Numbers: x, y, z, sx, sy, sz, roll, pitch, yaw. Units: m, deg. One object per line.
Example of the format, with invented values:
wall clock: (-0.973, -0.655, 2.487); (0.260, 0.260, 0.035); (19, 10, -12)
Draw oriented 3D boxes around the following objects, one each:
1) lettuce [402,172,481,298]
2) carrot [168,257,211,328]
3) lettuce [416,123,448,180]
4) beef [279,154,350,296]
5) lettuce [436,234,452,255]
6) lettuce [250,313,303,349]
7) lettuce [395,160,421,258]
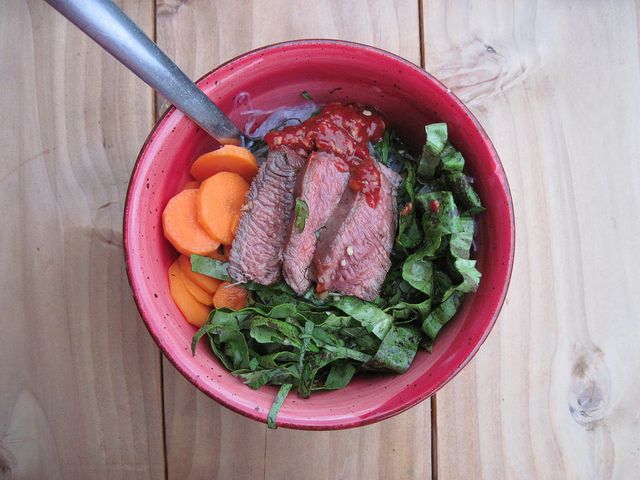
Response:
lettuce: (0.554, -0.048, 3.392); (0.167, 0.549, 0.417); (15, 23, -42)
carrot: (-0.620, 0.262, 3.438); (0.179, 0.312, 0.153); (25, 40, 29)
lettuce: (0.535, -0.428, 3.376); (0.103, 0.267, 0.083); (24, 37, 33)
beef: (-0.055, -0.125, 3.482); (0.308, 0.720, 0.143); (9, 6, -33)
lettuce: (0.576, 0.022, 3.320); (0.069, 0.089, 0.022); (7, 5, 39)
lettuce: (-0.203, 0.429, 3.286); (0.230, 0.150, 0.067); (15, -15, -7)
lettuce: (0.434, -0.133, 3.496); (0.077, 0.424, 0.153); (13, 36, 14)
